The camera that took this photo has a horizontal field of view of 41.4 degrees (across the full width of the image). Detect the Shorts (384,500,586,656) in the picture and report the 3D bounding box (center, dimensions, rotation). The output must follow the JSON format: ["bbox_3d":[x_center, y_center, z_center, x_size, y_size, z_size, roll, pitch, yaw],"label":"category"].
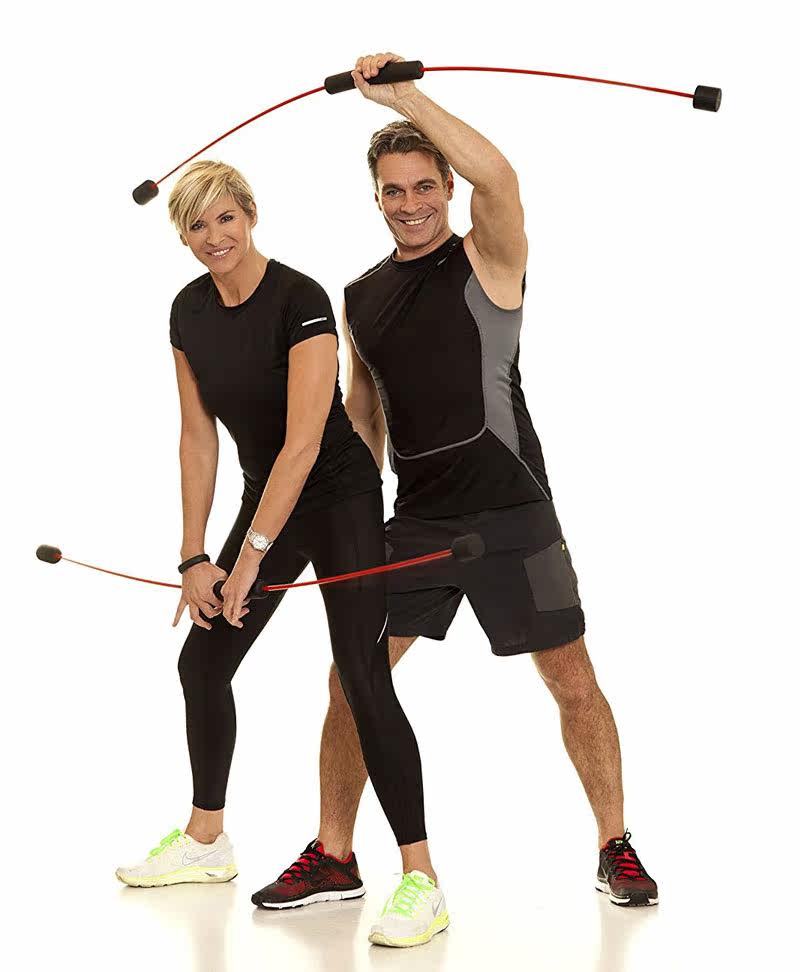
[{"bbox_3d":[0.196,0.205,2.487,0.475,0.256,0.150,-9,-5,7],"label":"Shorts"}]

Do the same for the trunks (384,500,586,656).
[{"bbox_3d":[0.173,0.236,2.655,0.630,0.351,0.210,-3,-7,30],"label":"trunks"}]

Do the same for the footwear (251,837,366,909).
[{"bbox_3d":[-0.223,0.941,2.543,0.322,0.118,0.100,13,-22,-42],"label":"footwear"}]

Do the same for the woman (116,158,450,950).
[{"bbox_3d":[-0.375,0.161,2.373,0.692,1.631,0.678,-7,-15,33],"label":"woman"}]

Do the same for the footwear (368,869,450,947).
[{"bbox_3d":[0.029,0.903,2.273,0.114,0.121,0.291,3,-3,24],"label":"footwear"}]

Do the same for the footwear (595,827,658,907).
[{"bbox_3d":[0.534,0.923,2.557,0.101,0.153,0.191,5,-12,-17],"label":"footwear"}]

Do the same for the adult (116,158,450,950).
[{"bbox_3d":[-0.375,0.161,2.373,0.693,1.631,0.678,-7,-15,33],"label":"adult"}]

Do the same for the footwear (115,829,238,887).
[{"bbox_3d":[-0.555,0.942,2.695,0.325,0.125,0.111,0,-7,-10],"label":"footwear"}]
